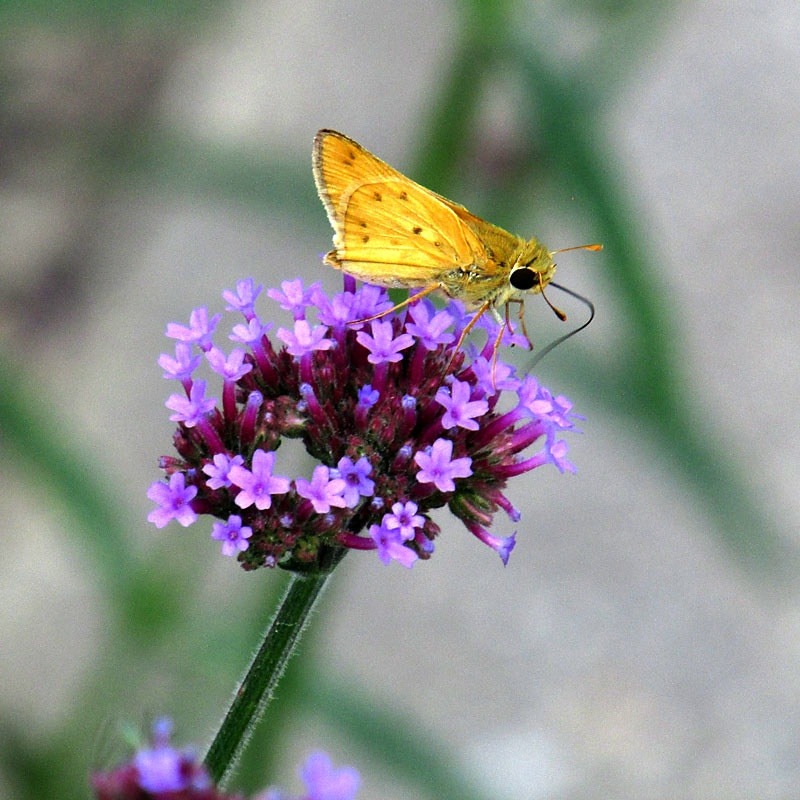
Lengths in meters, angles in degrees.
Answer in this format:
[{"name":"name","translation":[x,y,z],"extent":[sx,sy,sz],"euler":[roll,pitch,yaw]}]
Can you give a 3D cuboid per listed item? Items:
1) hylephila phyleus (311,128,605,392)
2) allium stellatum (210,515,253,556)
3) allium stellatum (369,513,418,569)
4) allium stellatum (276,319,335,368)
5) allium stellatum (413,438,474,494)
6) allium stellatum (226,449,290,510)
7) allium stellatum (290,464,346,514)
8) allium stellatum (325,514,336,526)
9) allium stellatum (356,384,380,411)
[{"name":"hylephila phyleus","translation":[0.199,-0.652,4.992],"extent":[1.138,0.628,0.860],"euler":[7,-59,-7]},{"name":"allium stellatum","translation":[-0.611,0.500,4.387],"extent":[0.147,0.140,0.080],"euler":[-9,-21,-23]},{"name":"allium stellatum","translation":[-0.027,0.523,4.376],"extent":[0.138,0.211,0.125],"euler":[-16,-20,-3]},{"name":"allium stellatum","translation":[-0.361,-0.229,4.654],"extent":[0.198,0.189,0.174],"euler":[-17,-21,-5]},{"name":"allium stellatum","translation":[0.155,0.266,4.567],"extent":[0.215,0.225,0.260],"euler":[-15,-22,-9]},{"name":"allium stellatum","translation":[-0.517,0.321,4.450],"extent":[0.219,0.240,0.251],"euler":[-15,-21,-9]},{"name":"allium stellatum","translation":[-0.294,0.333,4.365],"extent":[0.182,0.210,0.068],"euler":[21,-23,-14]},{"name":"allium stellatum","translation":[-0.265,0.455,4.558],"extent":[0.048,0.046,0.017],"euler":[-16,-19,-6]},{"name":"allium stellatum","translation":[-0.127,-0.011,4.658],"extent":[0.073,0.095,0.052],"euler":[0,-6,-18]}]
